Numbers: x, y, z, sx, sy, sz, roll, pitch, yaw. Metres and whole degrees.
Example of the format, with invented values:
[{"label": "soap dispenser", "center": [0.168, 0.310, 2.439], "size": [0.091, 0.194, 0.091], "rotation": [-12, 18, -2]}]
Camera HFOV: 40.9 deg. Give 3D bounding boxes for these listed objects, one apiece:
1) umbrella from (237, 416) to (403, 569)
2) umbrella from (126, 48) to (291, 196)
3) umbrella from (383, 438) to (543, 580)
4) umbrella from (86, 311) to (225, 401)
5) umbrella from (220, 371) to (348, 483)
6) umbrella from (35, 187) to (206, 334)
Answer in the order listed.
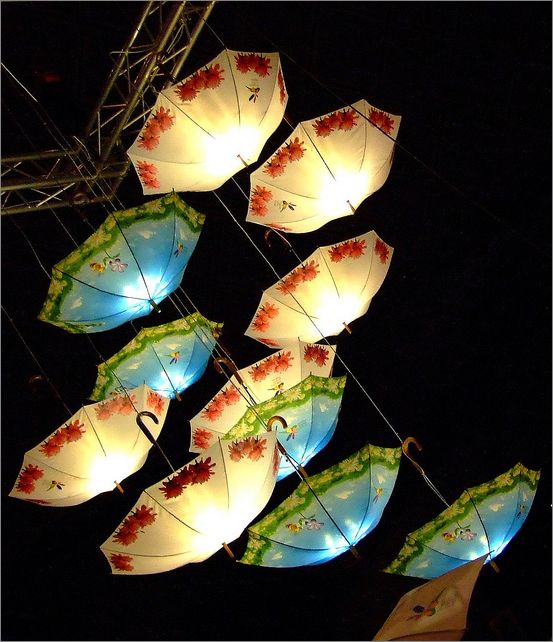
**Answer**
[{"label": "umbrella", "center": [0.293, 1.086, 4.397], "size": [0.729, 0.754, 0.300], "rotation": [-40, 54, -1]}, {"label": "umbrella", "center": [-0.410, -1.216, 4.506], "size": [0.822, 0.877, 0.492], "rotation": [-27, 65, -26]}, {"label": "umbrella", "center": [1.089, 1.142, 4.424], "size": [0.261, 0.710, 0.712], "rotation": [52, 9, 26]}, {"label": "umbrella", "center": [-0.825, 0.265, 5.326], "size": [0.705, 0.726, 0.412], "rotation": [27, 22, -51]}, {"label": "umbrella", "center": [0.026, 0.514, 5.059], "size": [0.686, 0.757, 0.317], "rotation": [-28, 57, -19]}, {"label": "umbrella", "center": [-0.966, -0.258, 5.148], "size": [1.159, 1.230, 0.460], "rotation": [-34, 76, -37]}]
